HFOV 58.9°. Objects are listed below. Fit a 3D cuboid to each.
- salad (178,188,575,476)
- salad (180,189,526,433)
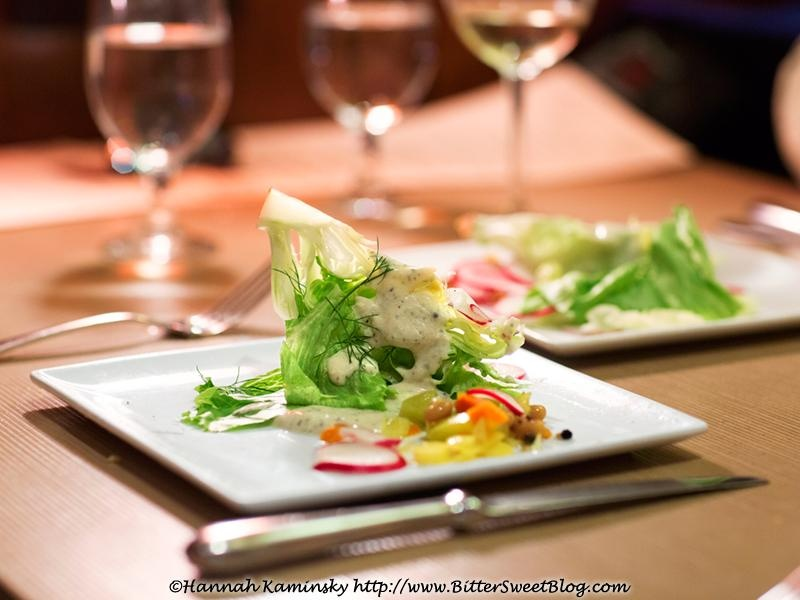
[{"bbox_3d":[-0.008,0.041,0.578,0.280,0.244,0.129,9,87,-18],"label":"salad"},{"bbox_3d":[-0.040,0.012,0.674,0.261,0.238,0.129,-2,83,-33],"label":"salad"}]
